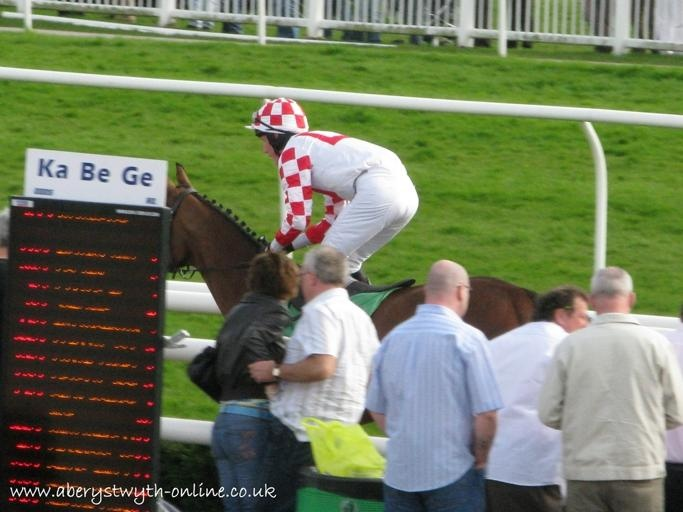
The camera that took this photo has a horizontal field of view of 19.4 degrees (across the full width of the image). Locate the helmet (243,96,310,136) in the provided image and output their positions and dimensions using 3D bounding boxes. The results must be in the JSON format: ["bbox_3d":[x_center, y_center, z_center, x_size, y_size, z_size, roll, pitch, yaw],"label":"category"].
[{"bbox_3d":[-0.445,-0.937,13.662,0.394,0.157,0.247,4,4,8],"label":"helmet"}]

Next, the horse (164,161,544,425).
[{"bbox_3d":[-0.496,0.283,14.132,0.647,1.581,2.770,1,4,37],"label":"horse"}]
